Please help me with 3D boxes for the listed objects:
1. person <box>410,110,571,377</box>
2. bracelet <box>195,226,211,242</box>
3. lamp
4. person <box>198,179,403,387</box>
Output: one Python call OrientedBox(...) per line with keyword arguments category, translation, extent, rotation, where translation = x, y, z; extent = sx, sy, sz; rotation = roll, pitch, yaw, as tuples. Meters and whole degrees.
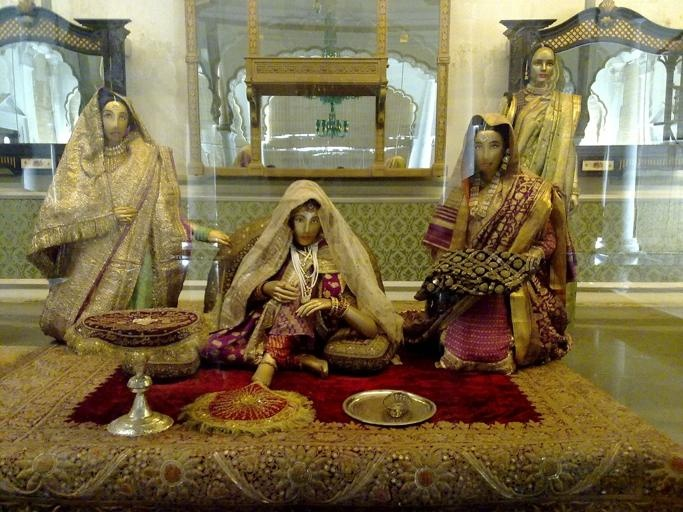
OrientedBox(category="person", translation=(0.793, -0.074, 3.336), extent=(1.043, 1.463, 0.850), rotation=(3, 7, 23))
OrientedBox(category="bracelet", translation=(-0.881, -0.144, 3.648), extent=(0.097, 0.080, 0.095), rotation=(-2, 9, -10))
OrientedBox(category="lamp", translation=(-0.064, -1.276, 3.847), extent=(0.217, 0.919, 0.392), rotation=(-1, 13, -2))
OrientedBox(category="person", translation=(-0.260, 0.170, 3.297), extent=(1.218, 1.048, 0.979), rotation=(4, 11, 7))
